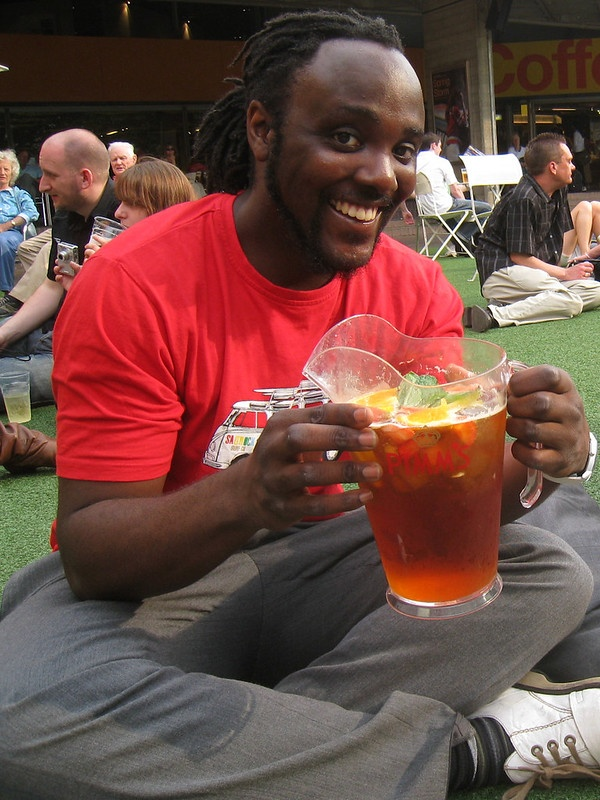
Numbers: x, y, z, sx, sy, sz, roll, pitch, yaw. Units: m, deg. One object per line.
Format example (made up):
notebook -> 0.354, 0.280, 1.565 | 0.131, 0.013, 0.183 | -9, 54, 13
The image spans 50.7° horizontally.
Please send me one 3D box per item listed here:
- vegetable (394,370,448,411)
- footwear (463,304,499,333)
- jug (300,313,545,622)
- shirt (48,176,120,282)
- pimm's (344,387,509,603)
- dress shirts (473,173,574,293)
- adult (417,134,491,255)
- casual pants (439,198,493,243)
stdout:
vegetable -> 0.122, -0.007, 0.623 | 0.044, 0.016, 0.041 | -1, 31, -4
footwear -> 1.458, -0.645, 5.185 | 0.283, 0.339, 0.123 | 0, -7, -11
jug -> 0.126, 0.045, 0.802 | 0.407, 0.370, 0.212 | -10, 20, -1
shirt -> -1.216, -0.993, 3.804 | 0.424, 0.670, 0.182 | 13, 9, 25
pimm's -> 0.140, 0.114, 0.650 | 0.136, 0.231, 0.135 | -1, 7, 5
dress shirts -> 1.971, -1.720, 6.042 | 0.974, 1.332, 1.315 | 8, 26, 26
adult -> 1.942, -2.428, 8.181 | 0.865, 0.963, 0.641 | -6, 39, -10
casual pants -> 2.312, -2.391, 8.493 | 0.256, 0.600, 1.024 | -6, 7, -36
